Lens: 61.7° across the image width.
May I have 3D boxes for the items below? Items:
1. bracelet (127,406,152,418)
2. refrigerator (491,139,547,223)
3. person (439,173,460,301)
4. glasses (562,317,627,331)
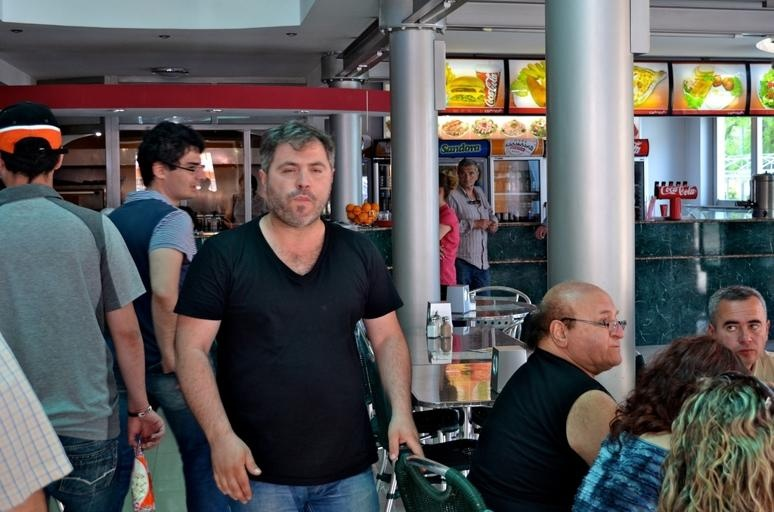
[{"bbox_3d":[-0.897,0.576,2.371,0.058,0.017,0.058,3,4,25],"label":"bracelet"},{"bbox_3d":[2.293,-1.202,11.520,1.140,1.682,0.863,0,8,9],"label":"refrigerator"},{"bbox_3d":[0.630,-0.198,6.533,0.195,1.268,0.683,0,1,7],"label":"person"},{"bbox_3d":[0.726,0.236,2.263,0.138,0.035,0.126,2,-2,18],"label":"glasses"}]
